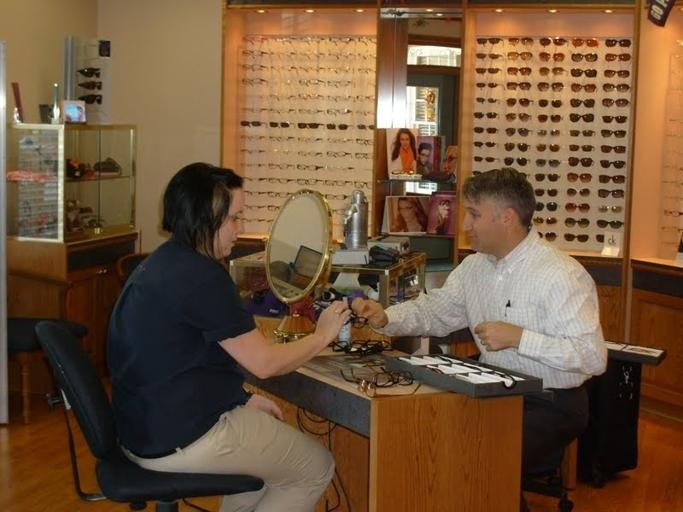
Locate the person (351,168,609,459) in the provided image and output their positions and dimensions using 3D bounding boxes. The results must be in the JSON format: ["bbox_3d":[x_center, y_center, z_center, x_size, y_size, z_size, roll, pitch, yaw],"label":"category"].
[{"bbox_3d":[0.698,0.389,2.722,0.704,1.480,1.006,-9,7,-43],"label":"person"}]

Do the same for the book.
[{"bbox_3d":[0.648,-0.645,5.314,0.797,0.886,0.776,0,5,-11],"label":"book"}]

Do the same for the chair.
[{"bbox_3d":[-0.741,0.569,2.308,0.724,0.846,0.577,1,1,-19],"label":"chair"}]
